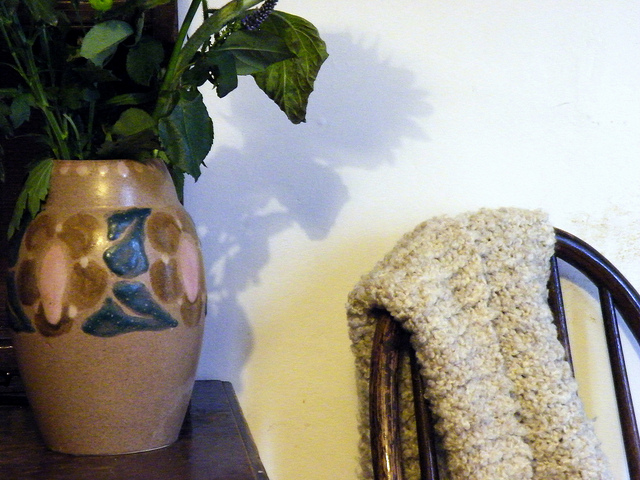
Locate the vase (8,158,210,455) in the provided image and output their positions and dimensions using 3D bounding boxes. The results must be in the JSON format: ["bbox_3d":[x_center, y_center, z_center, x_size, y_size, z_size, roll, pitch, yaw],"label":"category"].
[{"bbox_3d":[-0.293,0.089,1.421,0.269,0.403,0.153,2,15,-13],"label":"vase"}]
